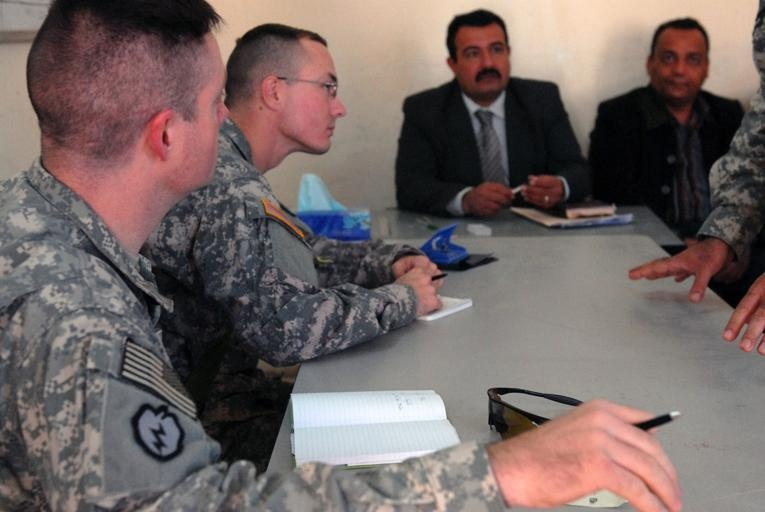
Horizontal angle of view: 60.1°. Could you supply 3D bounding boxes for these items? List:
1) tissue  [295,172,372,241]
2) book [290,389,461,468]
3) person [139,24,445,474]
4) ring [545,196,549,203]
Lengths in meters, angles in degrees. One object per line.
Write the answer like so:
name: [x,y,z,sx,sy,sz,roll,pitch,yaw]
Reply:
tissue : [-0.233,-0.201,2.659,0.330,0.298,0.309,-2,1,-34]
book: [-0.014,0.323,1.241,0.210,0.047,0.148,-1,24,-4]
person: [-0.265,0.153,1.962,0.934,1.451,0.706,-2,22,-9]
ring: [0.676,-0.232,2.715,0.020,0.024,0.008,2,-7,3]
